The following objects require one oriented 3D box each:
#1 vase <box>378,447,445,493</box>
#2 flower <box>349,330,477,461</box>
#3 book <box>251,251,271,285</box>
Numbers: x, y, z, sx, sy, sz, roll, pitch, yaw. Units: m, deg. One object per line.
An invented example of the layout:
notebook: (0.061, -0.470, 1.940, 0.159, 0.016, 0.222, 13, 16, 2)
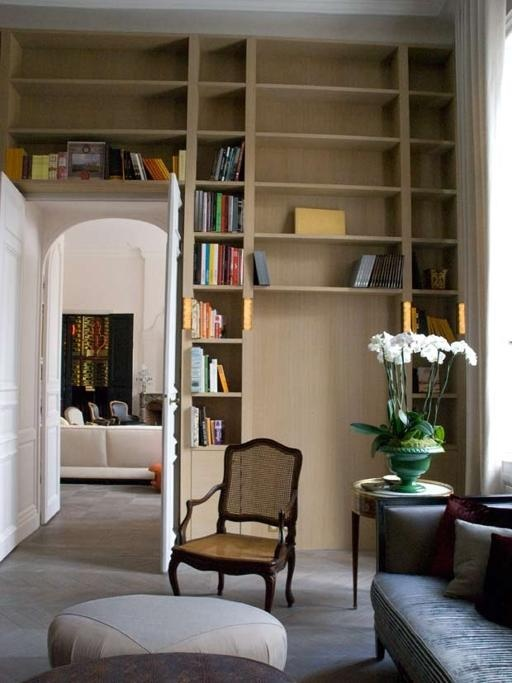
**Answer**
vase: (0.735, 0.583, 3.009, 0.244, 0.156, 0.241, -8, -10, 42)
flower: (0.928, 0.325, 3.784, 0.795, 0.823, 0.670, 3, -11, -8)
book: (0.021, -0.472, 4.167, 0.047, 0.191, 0.194, -2, -5, -12)
